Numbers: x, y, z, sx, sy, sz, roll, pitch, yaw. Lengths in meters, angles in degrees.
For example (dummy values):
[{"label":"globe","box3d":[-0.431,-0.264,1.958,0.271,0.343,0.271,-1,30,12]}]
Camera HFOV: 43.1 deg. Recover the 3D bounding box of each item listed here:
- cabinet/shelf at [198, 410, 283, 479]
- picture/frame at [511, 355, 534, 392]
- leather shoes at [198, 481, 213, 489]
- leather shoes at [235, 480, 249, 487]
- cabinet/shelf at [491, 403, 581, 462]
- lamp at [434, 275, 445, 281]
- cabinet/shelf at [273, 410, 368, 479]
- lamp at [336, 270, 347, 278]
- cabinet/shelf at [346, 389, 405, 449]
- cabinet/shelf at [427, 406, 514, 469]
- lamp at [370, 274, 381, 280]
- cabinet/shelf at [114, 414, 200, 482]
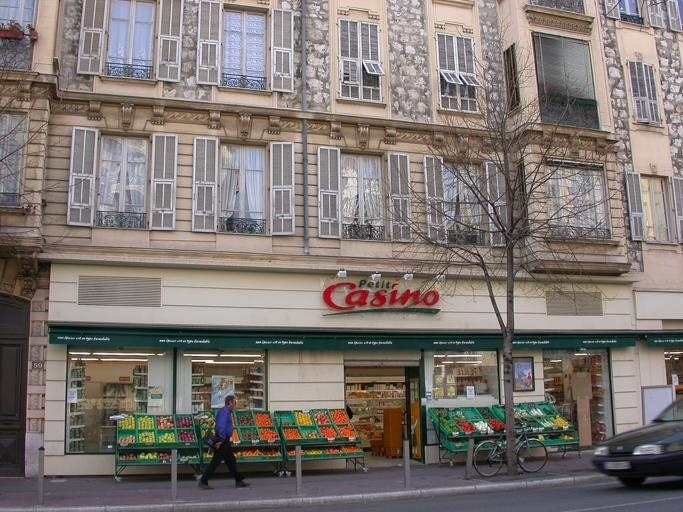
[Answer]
[{"label":"cabinet/shelf","box3d":[-2.841,5.673,26.043,1.935,1.828,1.908,2,-13,-10]},{"label":"picture/frame","box3d":[6.196,3.996,29.297,0.824,1.173,0.154,3,-10,-29]},{"label":"leather shoes","box3d":[-3.705,6.230,23.593,0.392,0.171,0.148,16,-4,15]},{"label":"leather shoes","box3d":[-2.695,6.291,23.924,0.447,0.209,0.144,0,-2,-14]},{"label":"cabinet/shelf","box3d":[6.139,5.598,27.748,2.816,1.515,1.352,3,3,-22]},{"label":"lamp","box3d":[3.245,0.695,28.090,0.329,0.185,0.227,-7,-1,0]},{"label":"cabinet/shelf","box3d":[-0.764,5.575,26.194,2.592,1.638,1.568,3,2,-24]},{"label":"lamp","box3d":[0.031,0.567,27.105,0.233,0.156,0.231,3,-5,-23]},{"label":"cabinet/shelf","box3d":[1.127,5.689,29.874,1.939,1.887,0.578,7,-15,-28]},{"label":"cabinet/shelf","box3d":[4.010,5.705,26.873,2.291,1.013,1.164,-1,4,-21]},{"label":"lamp","box3d":[1.108,0.678,27.653,0.224,0.154,0.222,3,-12,-30]},{"label":"cabinet/shelf","box3d":[-5.316,5.417,25.039,2.382,1.531,0.902,2,5,-20]}]
